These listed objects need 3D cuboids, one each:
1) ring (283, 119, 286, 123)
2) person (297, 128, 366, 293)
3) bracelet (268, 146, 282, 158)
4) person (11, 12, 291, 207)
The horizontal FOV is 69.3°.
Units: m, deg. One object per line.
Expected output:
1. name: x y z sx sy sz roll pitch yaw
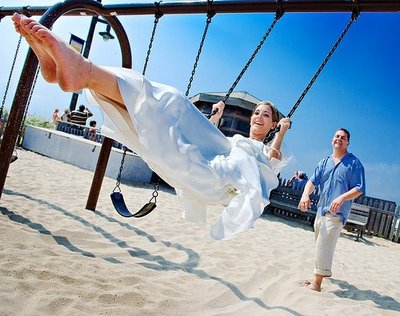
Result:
1. ring: 0.920 -0.400 3.145 0.011 0.036 0.026 -2 17 -37
2. person: 1.678 0.631 3.830 0.395 2.140 0.737 16 0 -33
3. bracelet: 0.828 -0.068 3.228 0.112 0.143 0.138 5 -5 -39
4. person: -0.450 -0.597 2.676 2.052 0.464 1.534 33 6 -43
